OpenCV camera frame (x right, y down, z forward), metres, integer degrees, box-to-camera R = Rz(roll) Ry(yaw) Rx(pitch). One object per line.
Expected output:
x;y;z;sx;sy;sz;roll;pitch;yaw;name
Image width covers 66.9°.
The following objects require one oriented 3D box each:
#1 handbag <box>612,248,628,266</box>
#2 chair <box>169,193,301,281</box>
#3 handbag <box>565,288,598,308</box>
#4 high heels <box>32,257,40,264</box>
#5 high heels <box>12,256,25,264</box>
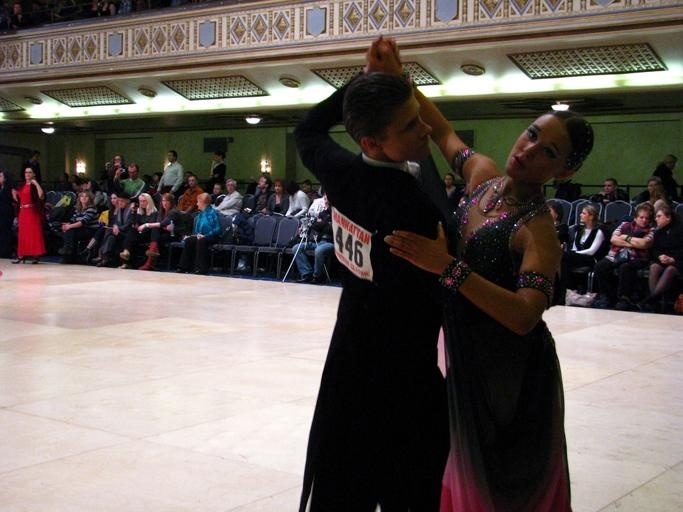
4.515;-0.112;8.377;0.098;0.234;0.237;11;4;-7;handbag
-2.522;-0.646;11.692;2.783;1.696;0.869;3;6;24;chair
3.879;0.496;8.439;0.367;0.187;0.257;8;3;31;handbag
-7.956;-0.112;13.333;0.138;0.187;0.452;2;-8;-23;high heels
-8.333;-0.151;13.222;0.504;0.232;0.174;7;4;34;high heels
